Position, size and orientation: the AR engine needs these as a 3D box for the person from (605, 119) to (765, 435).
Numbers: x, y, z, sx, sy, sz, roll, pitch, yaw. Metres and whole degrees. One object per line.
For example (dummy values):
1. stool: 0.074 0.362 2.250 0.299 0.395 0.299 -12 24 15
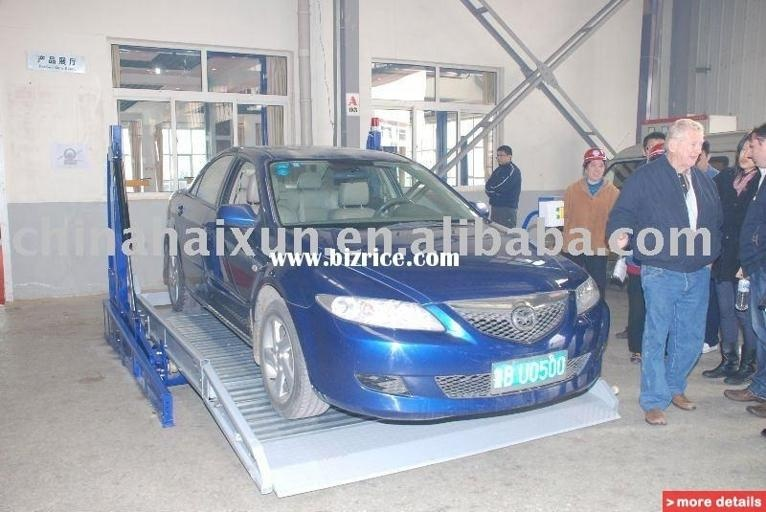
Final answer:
1. person: 2.294 0.140 4.961 0.837 2.426 0.545 2 13 8

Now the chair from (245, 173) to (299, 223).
1. chair: -0.946 -0.509 5.126 0.356 0.552 0.487 -4 13 -31

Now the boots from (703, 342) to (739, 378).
1. boots: 3.343 1.042 5.961 0.381 0.314 0.156 -7 10 -3

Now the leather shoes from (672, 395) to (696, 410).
1. leather shoes: 2.623 1.263 5.244 0.095 0.079 0.192 -3 1 -16

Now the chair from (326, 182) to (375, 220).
1. chair: -0.279 -0.466 5.222 0.322 0.335 0.339 -2 10 -19

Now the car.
1. car: -0.151 0.138 5.023 3.611 1.947 1.880 11 18 38

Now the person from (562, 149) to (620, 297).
1. person: 2.410 -0.227 7.069 0.638 2.117 0.540 5 27 20

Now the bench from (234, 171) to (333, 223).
1. bench: -0.773 -0.457 5.242 0.566 0.566 0.229 0 -17 -22

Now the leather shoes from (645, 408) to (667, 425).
1. leather shoes: 2.267 1.340 4.995 0.077 0.113 0.244 -2 -9 6

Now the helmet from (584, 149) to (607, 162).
1. helmet: 2.418 -1.147 6.860 0.209 0.172 0.172 -25 23 -38

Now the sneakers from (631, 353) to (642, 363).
1. sneakers: 2.630 1.070 6.244 0.047 0.069 0.151 -1 -2 5
